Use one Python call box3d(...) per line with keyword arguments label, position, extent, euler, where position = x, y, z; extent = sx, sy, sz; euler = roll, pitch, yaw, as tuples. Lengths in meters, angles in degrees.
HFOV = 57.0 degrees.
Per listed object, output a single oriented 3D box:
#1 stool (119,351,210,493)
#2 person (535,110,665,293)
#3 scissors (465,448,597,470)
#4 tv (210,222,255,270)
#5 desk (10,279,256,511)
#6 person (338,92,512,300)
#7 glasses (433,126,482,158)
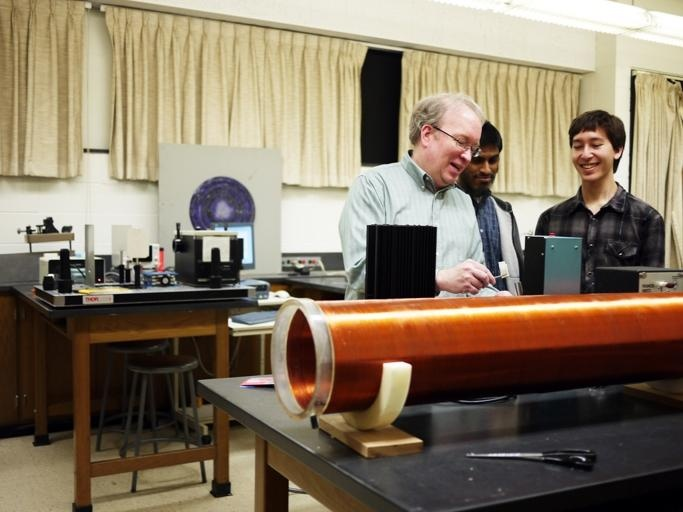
box3d(label="stool", position=(-1.288, 1.060, 4.392), extent=(0.606, 0.802, 0.604), euler=(-17, -1, 35))
box3d(label="person", position=(1.178, -0.246, 2.858), extent=(0.538, 0.798, 0.343), euler=(4, 14, 17))
box3d(label="scissors", position=(0.433, 0.446, 1.444), extent=(0.291, 0.035, 0.099), euler=(1, -3, 8))
box3d(label="tv", position=(-0.696, -0.064, 3.950), extent=(0.338, 0.417, 0.043), euler=(0, -1, -21))
box3d(label="desk", position=(-1.238, 0.545, 3.597), extent=(1.066, 1.234, 1.408), euler=(1, 0, -24))
box3d(label="person", position=(0.276, -0.235, 2.371), extent=(0.646, 0.736, 0.368), euler=(-5, 14, -22))
box3d(label="glasses", position=(0.429, -0.438, 2.326), extent=(0.040, 0.134, 0.129), euler=(-39, -21, 17))
